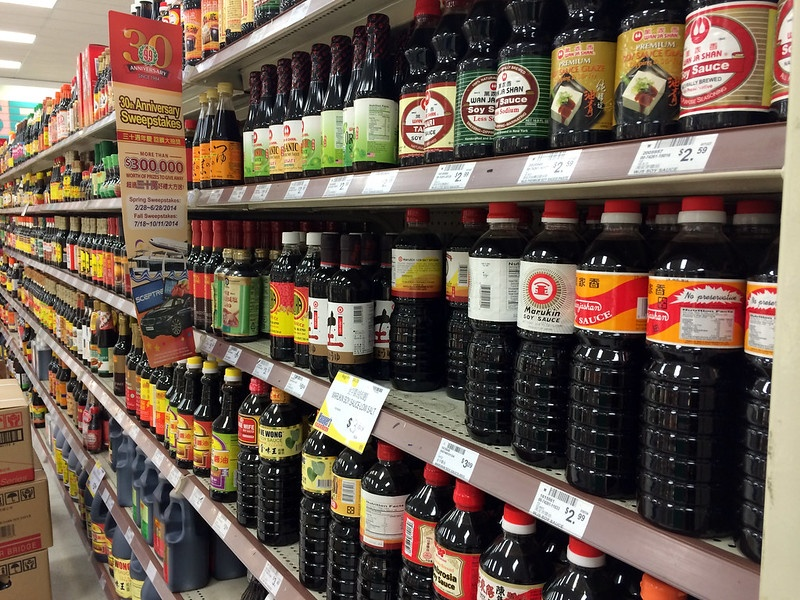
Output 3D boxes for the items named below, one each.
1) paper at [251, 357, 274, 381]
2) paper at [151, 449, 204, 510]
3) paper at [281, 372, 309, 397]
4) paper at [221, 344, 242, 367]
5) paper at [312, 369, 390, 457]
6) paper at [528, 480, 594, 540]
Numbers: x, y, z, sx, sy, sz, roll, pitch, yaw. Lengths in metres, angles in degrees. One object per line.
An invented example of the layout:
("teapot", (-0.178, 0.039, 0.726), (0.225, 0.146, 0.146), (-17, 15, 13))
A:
("paper", (-0.448, 0.223, 2.087), (0.078, 0.069, 0.018), (15, -2, 40))
("paper", (-0.875, 0.704, 2.525), (0.054, 0.053, 0.330), (-22, 23, -29))
("paper", (-0.317, 0.249, 1.940), (0.009, 0.051, 0.079), (14, 0, -35))
("paper", (-0.591, 0.194, 2.251), (0.018, 0.069, 0.076), (20, -7, -42))
("paper", (-0.149, 0.292, 1.741), (0.047, 0.193, 0.217), (5, -29, 46))
("paper", (0.306, 0.410, 1.300), (0.106, 0.061, 0.059), (22, -11, -10))
